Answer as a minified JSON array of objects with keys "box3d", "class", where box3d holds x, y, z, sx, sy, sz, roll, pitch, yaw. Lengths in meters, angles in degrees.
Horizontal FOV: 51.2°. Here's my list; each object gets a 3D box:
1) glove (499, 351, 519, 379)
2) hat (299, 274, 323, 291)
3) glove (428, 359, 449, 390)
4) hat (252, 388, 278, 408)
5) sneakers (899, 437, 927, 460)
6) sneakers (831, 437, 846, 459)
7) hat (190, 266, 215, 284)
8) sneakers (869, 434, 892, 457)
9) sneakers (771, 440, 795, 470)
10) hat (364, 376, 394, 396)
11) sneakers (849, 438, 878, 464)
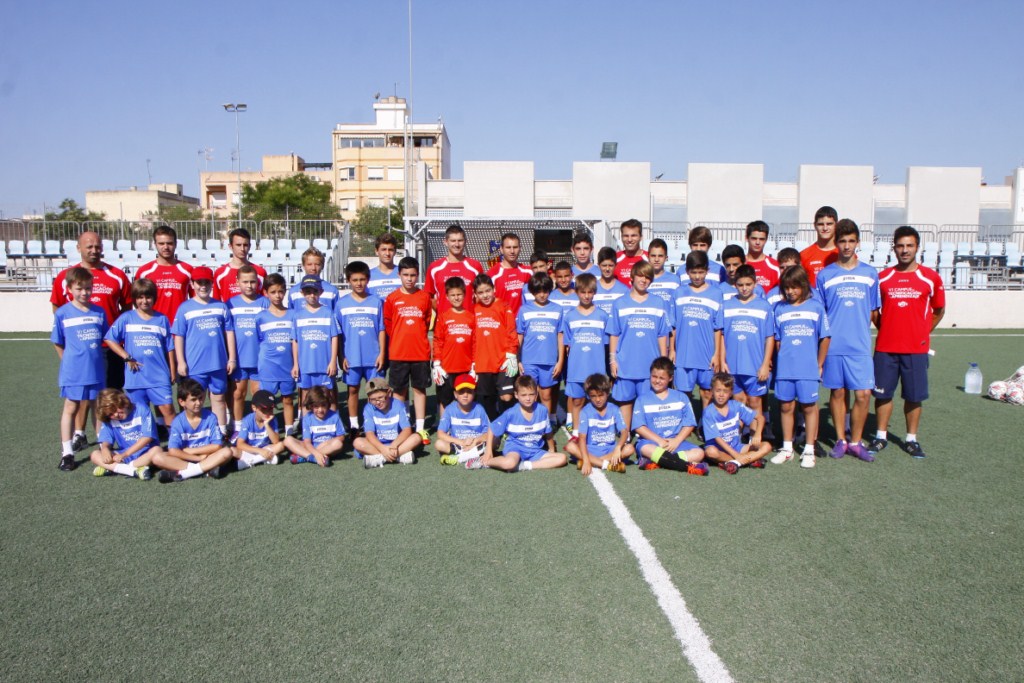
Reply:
[{"box3d":[-0.042,0.246,11.571,0.208,0.286,0.083,3,3,1],"class":"glove"},{"box3d":[-2.275,-0.670,12.092,0.346,0.189,0.554,-1,8,-14],"class":"hat"},{"box3d":[-0.794,0.344,11.738,0.195,0.254,0.114,2,12,15],"class":"glove"},{"box3d":[-2.620,0.594,11.215,0.219,0.188,0.339,-4,10,-11],"class":"hat"},{"box3d":[4.208,1.128,11.220,0.150,0.187,0.430,-4,-5,8],"class":"sneakers"},{"box3d":[3.397,1.086,11.164,0.169,0.188,0.240,5,12,35],"class":"sneakers"},{"box3d":[-3.328,-0.715,11.460,0.199,0.150,0.271,-2,0,-30],"class":"hat"},{"box3d":[3.900,1.093,11.317,0.096,0.129,0.293,-7,-13,41],"class":"sneakers"},{"box3d":[2.798,1.162,11.078,0.394,0.265,0.133,-5,-2,-27],"class":"sneakers"},{"box3d":[-1.391,0.464,11.211,0.243,0.148,0.303,4,11,29],"class":"hat"},{"box3d":[3.624,1.137,11.081,0.149,0.137,0.273,0,4,-9],"class":"sneakers"}]
